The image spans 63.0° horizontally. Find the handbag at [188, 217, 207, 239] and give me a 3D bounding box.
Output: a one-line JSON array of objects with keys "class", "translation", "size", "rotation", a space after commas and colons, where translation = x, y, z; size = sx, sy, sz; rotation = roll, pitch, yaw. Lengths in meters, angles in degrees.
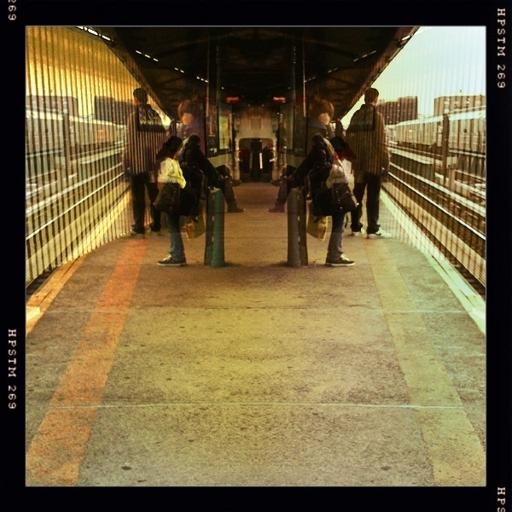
[{"class": "handbag", "translation": [-0.273, -0.140, 1.971], "size": [0.093, 0.091, 0.025], "rotation": [5, -1, -29]}]

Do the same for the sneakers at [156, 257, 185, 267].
[{"class": "sneakers", "translation": [-0.401, 0.024, 1.941], "size": [0.130, 0.058, 0.044], "rotation": [6, 2, -18]}]

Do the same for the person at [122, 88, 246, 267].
[{"class": "person", "translation": [-0.286, -0.329, 1.976], "size": [0.392, 0.820, 0.176], "rotation": [1, 0, -26]}]

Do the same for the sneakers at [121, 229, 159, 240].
[{"class": "sneakers", "translation": [-0.553, -0.107, 1.966], "size": [0.172, 0.046, 0.053], "rotation": [0, 1, -14]}]

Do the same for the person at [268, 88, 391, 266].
[{"class": "person", "translation": [0.352, -0.341, 1.984], "size": [0.522, 0.783, 0.205], "rotation": [1, 0, 32]}]

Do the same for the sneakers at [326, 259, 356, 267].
[{"class": "sneakers", "translation": [0.382, 0.016, 1.907], "size": [0.131, 0.061, 0.049], "rotation": [-1, 5, 3]}]
